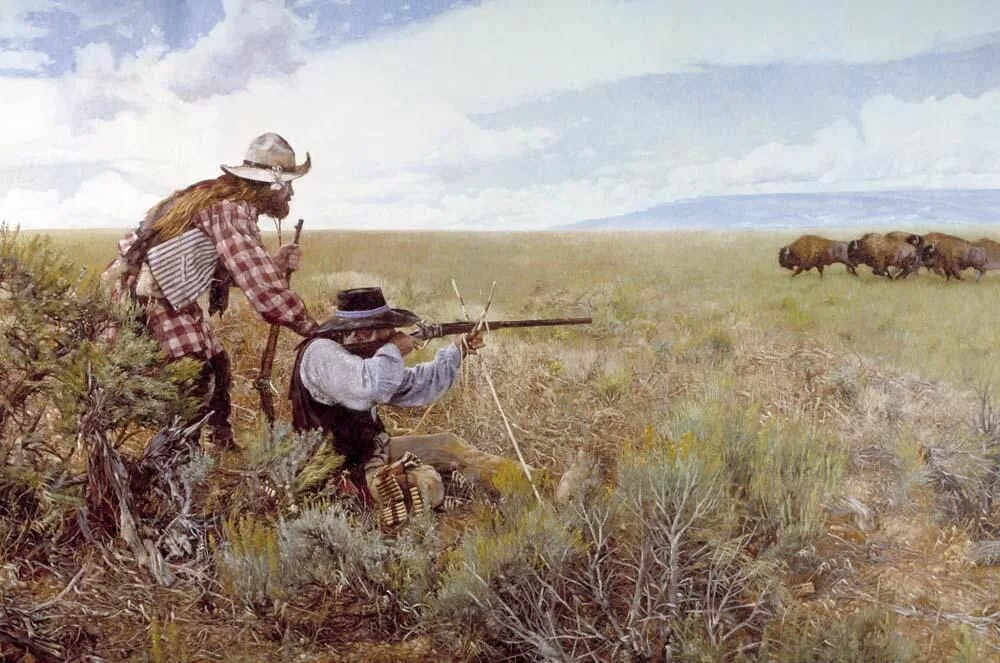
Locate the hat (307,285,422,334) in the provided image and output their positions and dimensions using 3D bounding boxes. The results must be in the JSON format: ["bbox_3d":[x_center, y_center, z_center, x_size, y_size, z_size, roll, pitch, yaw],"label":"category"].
[{"bbox_3d":[-1.085,-0.161,6.681,0.786,0.311,0.824,-1,12,38],"label":"hat"}]

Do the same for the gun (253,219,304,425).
[{"bbox_3d":[-1.850,-0.026,7.137,0.273,1.894,0.097,18,11,13],"label":"gun"}]

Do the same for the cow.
[{"bbox_3d":[3.449,-0.650,7.571,1.890,0.414,0.229,0,8,7],"label":"cow"}]

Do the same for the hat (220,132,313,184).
[{"bbox_3d":[-1.890,-1.466,7.121,0.761,0.324,0.823,16,18,27],"label":"hat"}]

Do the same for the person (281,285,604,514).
[{"bbox_3d":[-0.845,0.544,6.625,1.480,1.743,0.665,-3,9,-16],"label":"person"}]
